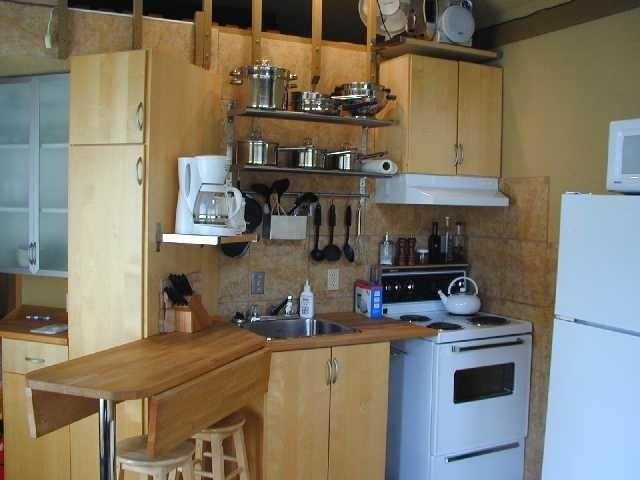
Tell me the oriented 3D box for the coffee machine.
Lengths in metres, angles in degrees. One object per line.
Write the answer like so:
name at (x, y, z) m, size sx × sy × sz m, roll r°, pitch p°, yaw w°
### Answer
coffee machine at (-0.636, -0.240, 3.424) m, size 0.474 × 0.507 × 0.312 m, roll -4°, pitch 8°, yaw -23°

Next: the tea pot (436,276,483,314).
tea pot at (1.047, 0.392, 4.461) m, size 0.280 × 0.277 × 0.245 m, roll 2°, pitch -1°, yaw 14°

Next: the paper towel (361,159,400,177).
paper towel at (0.381, -0.472, 4.011) m, size 0.132 × 0.067 × 0.173 m, roll 0°, pitch 3°, yaw -37°

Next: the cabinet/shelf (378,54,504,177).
cabinet/shelf at (0.798, -0.872, 4.196) m, size 0.825 × 0.774 × 0.369 m, roll 0°, pitch 2°, yaw -26°

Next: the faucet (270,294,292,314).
faucet at (-0.264, 0.441, 4.165) m, size 0.152 × 0.143 × 0.094 m, roll 6°, pitch 10°, yaw -7°

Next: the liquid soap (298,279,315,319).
liquid soap at (-0.088, 0.407, 4.192) m, size 0.116 × 0.234 × 0.172 m, roll 6°, pitch 10°, yaw -1°

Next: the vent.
vent at (0.885, -0.344, 4.310) m, size 0.922 × 0.287 × 0.391 m, roll 5°, pitch 11°, yaw -12°

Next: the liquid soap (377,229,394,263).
liquid soap at (0.502, 0.056, 4.476) m, size 0.129 × 0.224 × 0.073 m, roll -2°, pitch 13°, yaw -38°
